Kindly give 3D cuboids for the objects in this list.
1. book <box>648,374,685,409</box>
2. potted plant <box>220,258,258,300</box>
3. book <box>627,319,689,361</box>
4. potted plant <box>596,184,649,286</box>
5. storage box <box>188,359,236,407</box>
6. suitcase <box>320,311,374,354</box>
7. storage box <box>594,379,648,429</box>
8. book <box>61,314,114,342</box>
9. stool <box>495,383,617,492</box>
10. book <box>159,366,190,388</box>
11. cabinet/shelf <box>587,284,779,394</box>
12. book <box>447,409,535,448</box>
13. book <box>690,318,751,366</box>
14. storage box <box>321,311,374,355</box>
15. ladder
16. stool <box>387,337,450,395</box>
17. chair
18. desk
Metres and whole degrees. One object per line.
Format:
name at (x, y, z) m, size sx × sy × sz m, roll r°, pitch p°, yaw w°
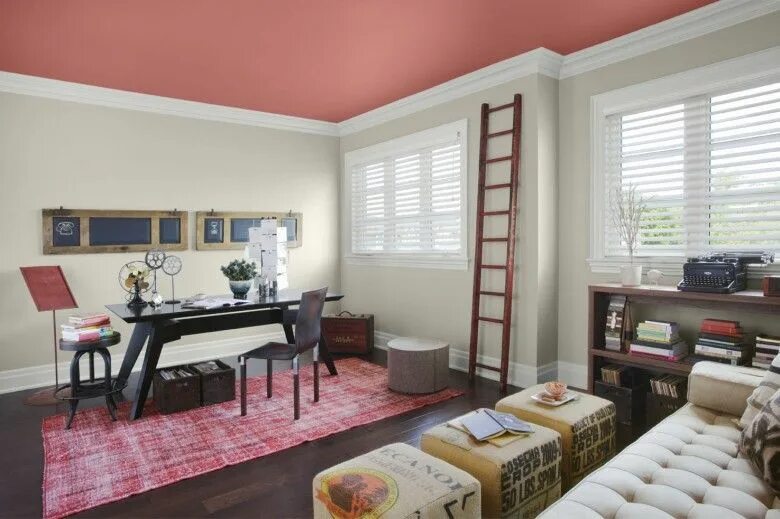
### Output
book at (2.396, 1.133, 4.355) m, size 0.303 × 0.092 × 0.224 m, roll -1°, pitch 2°, yaw -40°
potted plant at (-1.565, 0.200, 5.440) m, size 0.442 × 0.404 × 0.417 m, roll 2°, pitch -1°, yaw -9°
book at (2.361, 0.720, 4.459) m, size 0.399 × 0.243 × 0.378 m, roll -2°, pitch 3°, yaw -36°
potted plant at (2.261, -0.239, 4.793) m, size 0.344 × 0.920 × 0.577 m, roll 0°, pitch 6°, yaw 21°
storage box at (-1.775, 1.228, 5.057) m, size 0.375 × 0.299 × 0.539 m, roll 0°, pitch 1°, yaw -39°
suitcase at (-0.539, 0.941, 6.650) m, size 0.661 × 0.471 × 0.336 m, roll -2°, pitch 4°, yaw 17°
storage box at (2.064, 1.308, 4.663) m, size 0.420 × 0.242 × 0.423 m, roll 19°, pitch -9°, yaw -41°
book at (-2.814, 0.633, 4.675) m, size 0.395 × 0.219 × 0.229 m, roll -5°, pitch 6°, yaw -31°
stool at (1.297, 1.194, 3.797) m, size 0.746 × 0.584 × 0.759 m, roll 1°, pitch 4°, yaw 43°
book at (-2.084, 1.140, 4.863) m, size 0.171 × 0.067 × 0.215 m, roll 1°, pitch 5°, yaw -37°
cabinet/shelf at (2.488, 0.675, 4.239) m, size 1.103 × 0.827 × 0.331 m, roll 3°, pitch 5°, yaw 41°
book at (0.670, 1.145, 3.451) m, size 0.291 × 0.067 × 0.257 m, roll -3°, pitch 9°, yaw -32°
book at (2.726, 0.645, 4.290) m, size 0.359 × 0.421 × 0.470 m, roll 1°, pitch -1°, yaw -40°
storage box at (-0.546, 0.936, 6.647) m, size 0.661 × 0.466 × 0.354 m, roll -1°, pitch 3°, yaw 12°
ladder at (1.097, -0.193, 5.377) m, size 0.514 × 3.068 × 0.547 m, roll 2°, pitch 7°, yaw 34°
stool at (0.188, 1.176, 5.450) m, size 0.772 × 0.476 × 0.721 m, roll 11°, pitch -19°, yaw -24°
chair at (-1.045, 0.910, 4.939) m, size 0.784 × 1.076 × 0.758 m, roll -2°, pitch 0°, yaw 18°
desk at (-1.682, 0.858, 5.205) m, size 2.095 × 0.777 × 0.756 m, roll -5°, pitch 5°, yaw -36°
